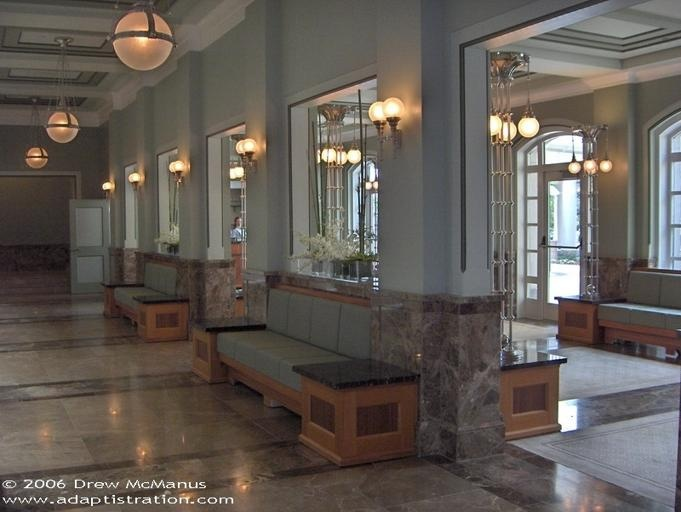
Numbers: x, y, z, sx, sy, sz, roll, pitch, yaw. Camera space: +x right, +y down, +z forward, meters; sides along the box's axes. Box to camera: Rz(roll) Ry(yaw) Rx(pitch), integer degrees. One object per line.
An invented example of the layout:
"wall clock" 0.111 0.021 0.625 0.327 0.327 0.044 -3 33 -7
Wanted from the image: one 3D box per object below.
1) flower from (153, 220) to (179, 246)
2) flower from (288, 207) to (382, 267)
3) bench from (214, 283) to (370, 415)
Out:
"flower" -3.609 -0.480 11.246 0.624 0.382 0.628 -1 -19 3
"flower" -0.124 -0.146 6.430 0.695 0.509 1.036 1 0 17
"bench" -0.552 1.066 6.138 0.891 1.261 2.254 5 -1 -35
